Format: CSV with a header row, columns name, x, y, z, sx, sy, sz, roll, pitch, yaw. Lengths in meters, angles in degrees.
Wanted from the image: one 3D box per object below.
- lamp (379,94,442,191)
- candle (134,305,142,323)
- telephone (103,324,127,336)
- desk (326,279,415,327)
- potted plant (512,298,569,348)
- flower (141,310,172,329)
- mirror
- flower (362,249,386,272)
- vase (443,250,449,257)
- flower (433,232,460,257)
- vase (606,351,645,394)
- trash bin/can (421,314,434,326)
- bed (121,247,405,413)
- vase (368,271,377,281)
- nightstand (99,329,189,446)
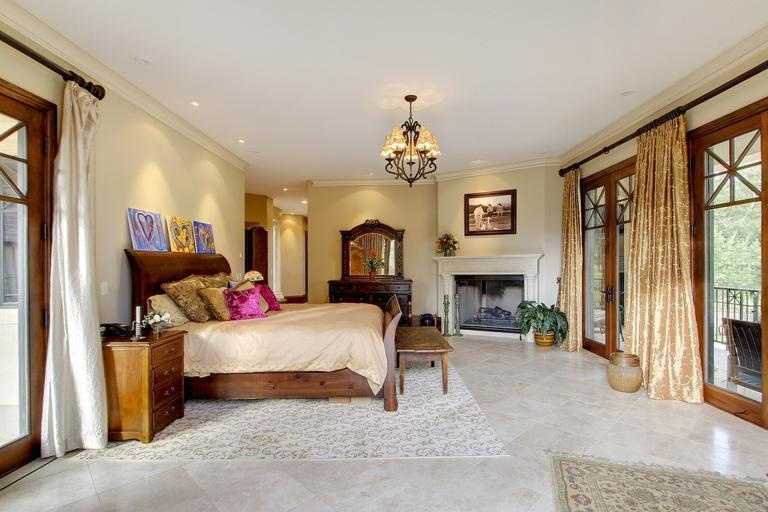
name,x,y,z,sx,sy,sz,roll,pitch,yaw
lamp,0.330,-1.516,6.147,0.734,1.025,0.777,0,0,31
candle,-2.560,0.608,5.027,0.037,0.167,0.116,-1,-3,-17
telephone,-2.882,0.792,5.147,0.218,0.062,0.133,2,0,-10
desk,-0.270,0.835,9.786,1.668,0.908,0.566,1,18,0
potted plant,2.760,1.151,8.345,0.876,0.757,0.416,-3,-4,32
flower,-2.506,0.701,5.295,0.255,0.196,0.263,0,-4,-21
mirror,-0.196,-0.151,9.848,1.305,1.117,0.178,0,-3,1
flower,-0.221,0.116,9.985,0.502,0.495,0.442,1,-6,-6
vase,1.219,-0.071,9.388,0.087,0.155,0.085,2,-4,-26
flower,1.225,-0.229,9.358,0.446,0.451,0.458,4,6,32
vase,3.002,1.446,6.053,0.460,0.427,0.452,1,-5,-27
trash bin/can,0.846,1.252,9.502,0.225,0.223,0.231,0,-3,20
bed,-1.439,0.828,6.665,2.888,1.422,2.792,11,-3,-23
vase,-0.240,0.389,9.772,0.173,0.182,0.159,0,-7,-2
nightstand,-2.662,1.382,5.291,0.744,1.007,0.895,1,1,17
